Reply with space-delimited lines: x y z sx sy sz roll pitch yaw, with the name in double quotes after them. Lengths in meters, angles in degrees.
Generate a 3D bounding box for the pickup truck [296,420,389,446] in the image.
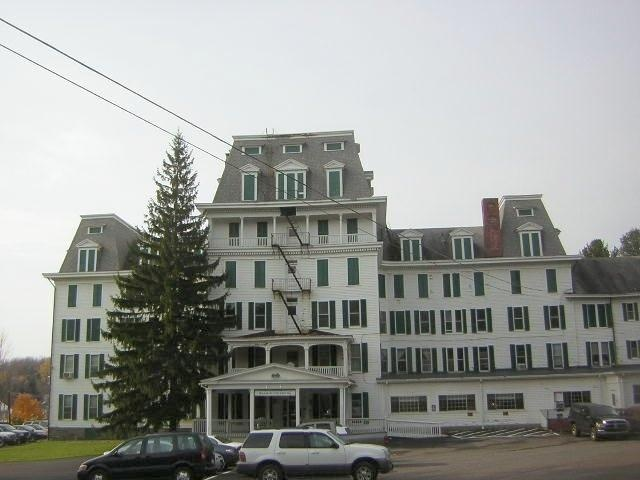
1.253 11.876 49.131 4.918 1.432 2.496 -1 -12 4 "pickup truck"

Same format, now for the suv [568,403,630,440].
17.706 11.463 52.573 1.708 2.431 3.455 5 -18 -20 "suv"
